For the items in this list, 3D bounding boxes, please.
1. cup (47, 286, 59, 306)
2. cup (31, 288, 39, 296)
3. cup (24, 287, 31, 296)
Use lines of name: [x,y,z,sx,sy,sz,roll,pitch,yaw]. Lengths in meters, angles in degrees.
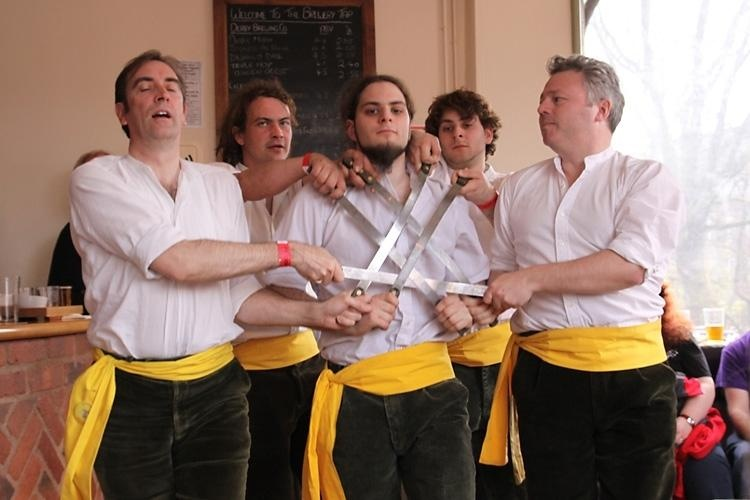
cup: [-1.690,0.246,3.328,0.062,0.098,0.031,-8,8,-28]
cup: [-1.782,0.221,3.324,0.039,0.035,0.059,-9,9,-35]
cup: [-1.812,0.221,3.296,0.031,0.034,0.030,0,-6,0]
